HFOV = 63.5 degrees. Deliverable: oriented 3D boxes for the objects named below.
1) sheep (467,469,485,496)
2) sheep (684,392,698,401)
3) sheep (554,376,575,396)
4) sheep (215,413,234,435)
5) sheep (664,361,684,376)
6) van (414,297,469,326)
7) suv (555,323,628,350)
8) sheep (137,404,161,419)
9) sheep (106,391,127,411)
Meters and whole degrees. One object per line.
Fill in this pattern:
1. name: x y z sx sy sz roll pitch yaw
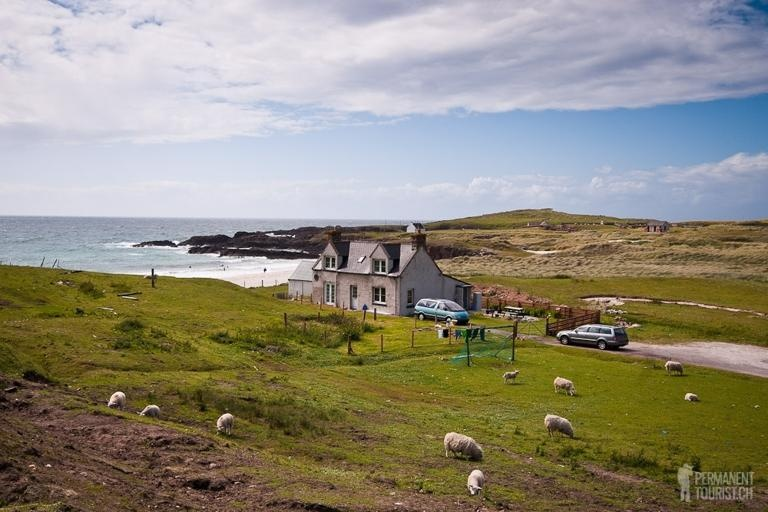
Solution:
1. sheep: 3.743 9.181 25.192 0.717 0.756 0.880 4 10 8
2. sheep: 17.567 8.060 35.258 0.418 0.263 0.691 2 1 45
3. sheep: 10.733 7.746 36.647 0.682 0.835 1.135 -5 12 -37
4. sheep: -7.098 7.488 27.814 0.707 0.871 0.742 1 10 -10
5. sheep: 18.895 7.258 40.247 1.111 0.841 1.106 6 10 21
6. van: 5.427 5.112 57.170 4.623 1.291 2.225 -2 -3 45
7. suv: 16.435 6.282 48.306 4.449 1.177 2.186 2 0 40
8. sheep: -10.371 6.899 27.602 0.888 0.550 0.706 -1 10 -19
9. sheep: -11.951 6.470 27.744 0.758 0.668 0.701 -3 11 -30
